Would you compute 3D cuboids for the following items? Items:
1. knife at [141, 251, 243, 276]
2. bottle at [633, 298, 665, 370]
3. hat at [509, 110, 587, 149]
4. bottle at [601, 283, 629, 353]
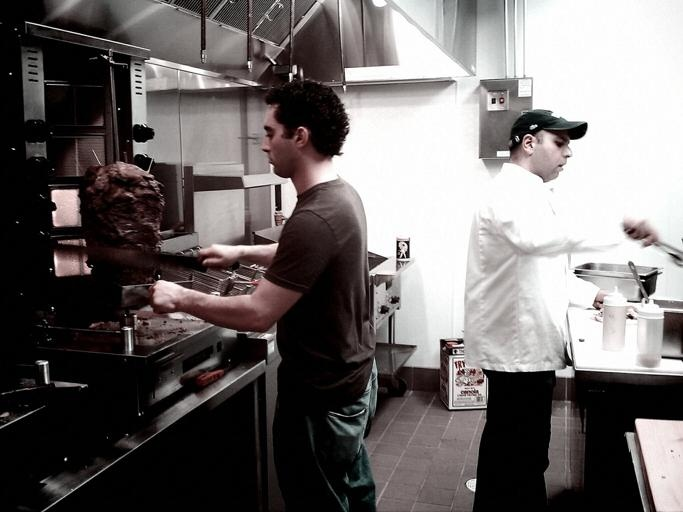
[{"bbox_3d":[-0.525,0.019,1.662,0.193,0.067,0.089,-5,10,-22],"label":"knife"},{"bbox_3d":[1.190,0.300,2.030,0.089,0.247,0.152,4,10,31],"label":"bottle"},{"bbox_3d":[0.932,-0.592,2.366,0.261,0.120,0.176,-6,3,18],"label":"hat"},{"bbox_3d":[1.149,0.261,2.211,0.090,0.256,0.184,3,10,27],"label":"bottle"}]
